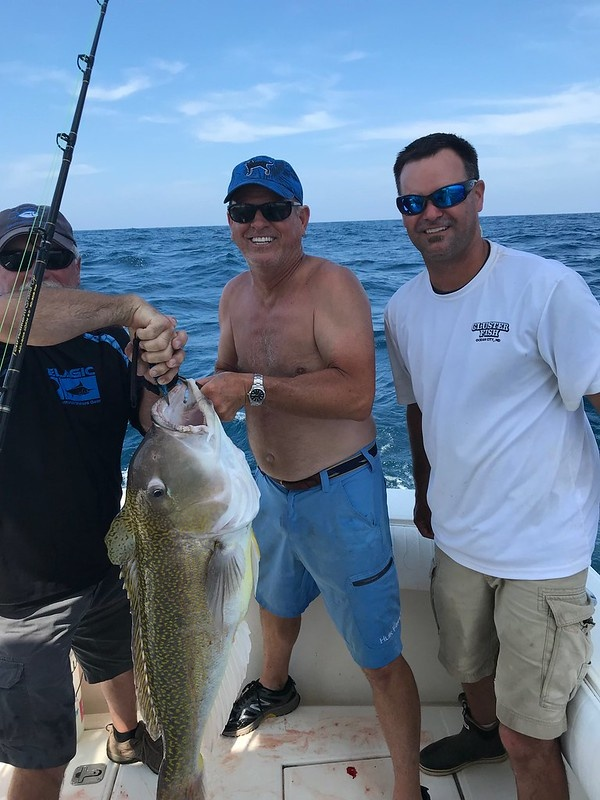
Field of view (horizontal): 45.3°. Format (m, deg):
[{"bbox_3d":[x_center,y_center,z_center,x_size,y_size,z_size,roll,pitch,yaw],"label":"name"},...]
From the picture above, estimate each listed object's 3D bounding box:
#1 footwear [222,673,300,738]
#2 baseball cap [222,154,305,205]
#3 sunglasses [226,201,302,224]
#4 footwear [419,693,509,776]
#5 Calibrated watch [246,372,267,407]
[{"bbox_3d":[-0.180,1.366,3.263,0.411,0.170,0.145,-15,-3,-25],"label":"footwear"},{"bbox_3d":[-0.141,-0.853,2.791,0.306,0.183,0.214,-3,10,-3],"label":"baseball cap"},{"bbox_3d":[-0.139,-0.723,2.772,0.268,0.085,0.101,-3,10,-4],"label":"sunglasses"},{"bbox_3d":[0.637,1.377,2.997,0.479,0.305,0.182,-4,6,-1],"label":"footwear"},{"bbox_3d":[-0.142,-0.026,2.373,0.070,0.097,0.093,1,17,-5],"label":"Calibrated watch"}]
